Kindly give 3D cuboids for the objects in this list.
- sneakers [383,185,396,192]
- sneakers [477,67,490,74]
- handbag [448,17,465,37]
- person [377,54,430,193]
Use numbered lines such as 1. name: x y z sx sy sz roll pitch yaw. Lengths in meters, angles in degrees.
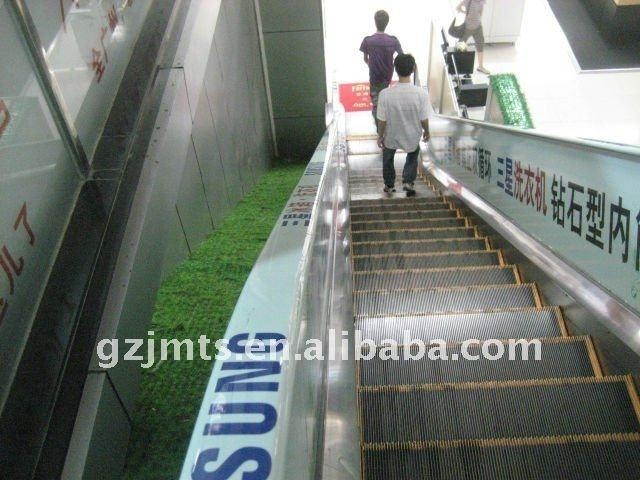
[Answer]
1. sneakers: 0.940 -0.700 5.460 0.157 0.080 0.063 4 23 14
2. sneakers: 3.426 -3.565 8.496 0.269 0.116 0.079 34 19 27
3. handbag: 2.785 -4.301 8.268 0.286 0.410 0.341 21 17 16
4. person: 1.023 -1.384 4.948 0.591 1.720 0.501 3 40 10
